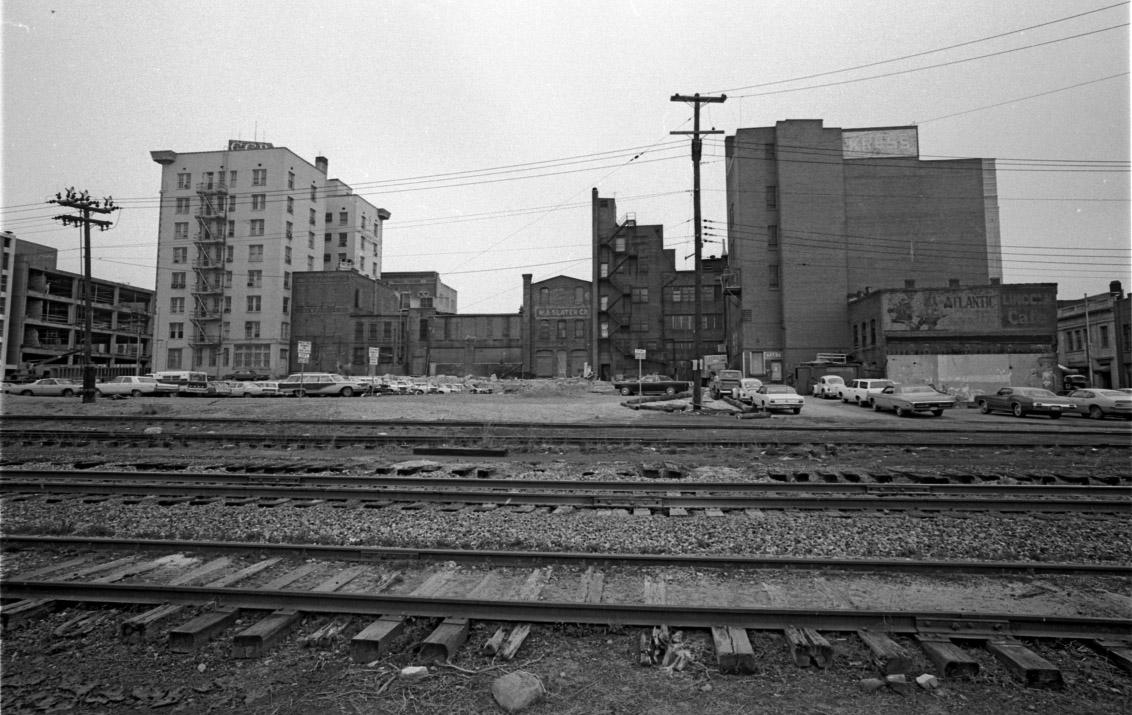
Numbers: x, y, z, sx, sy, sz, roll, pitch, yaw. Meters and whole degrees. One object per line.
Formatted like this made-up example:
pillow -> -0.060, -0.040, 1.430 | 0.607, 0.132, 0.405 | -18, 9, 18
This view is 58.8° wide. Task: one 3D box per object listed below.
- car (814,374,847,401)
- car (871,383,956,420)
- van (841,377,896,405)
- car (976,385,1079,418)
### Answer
car -> 15.040, 1.703, 56.712 | 1.329, 0.952, 2.953 | 1, 5, 10
car -> 15.027, 1.832, 43.644 | 1.893, 1.338, 3.517 | -2, -1, -9
van -> 14.655, 1.650, 48.476 | 1.360, 0.779, 2.821 | -1, 2, 3
car -> 19.908, 1.983, 44.011 | 1.578, 1.321, 3.330 | -2, -1, -24
